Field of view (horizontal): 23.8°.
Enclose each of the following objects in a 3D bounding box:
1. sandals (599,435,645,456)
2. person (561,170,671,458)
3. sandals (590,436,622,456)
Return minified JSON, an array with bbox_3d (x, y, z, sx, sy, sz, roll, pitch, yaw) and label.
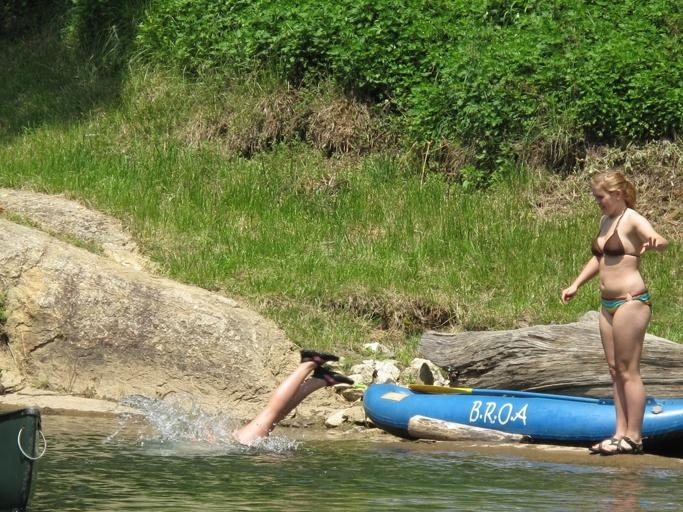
[{"bbox_3d":[4.250,2.837,24.516,0.530,0.199,0.292,4,-3,3],"label":"sandals"},{"bbox_3d":[4.328,0.854,24.656,0.881,4.187,1.005,-3,9,-8],"label":"person"},{"bbox_3d":[4.039,2.872,24.571,0.376,0.102,0.258,-11,3,-43],"label":"sandals"}]
